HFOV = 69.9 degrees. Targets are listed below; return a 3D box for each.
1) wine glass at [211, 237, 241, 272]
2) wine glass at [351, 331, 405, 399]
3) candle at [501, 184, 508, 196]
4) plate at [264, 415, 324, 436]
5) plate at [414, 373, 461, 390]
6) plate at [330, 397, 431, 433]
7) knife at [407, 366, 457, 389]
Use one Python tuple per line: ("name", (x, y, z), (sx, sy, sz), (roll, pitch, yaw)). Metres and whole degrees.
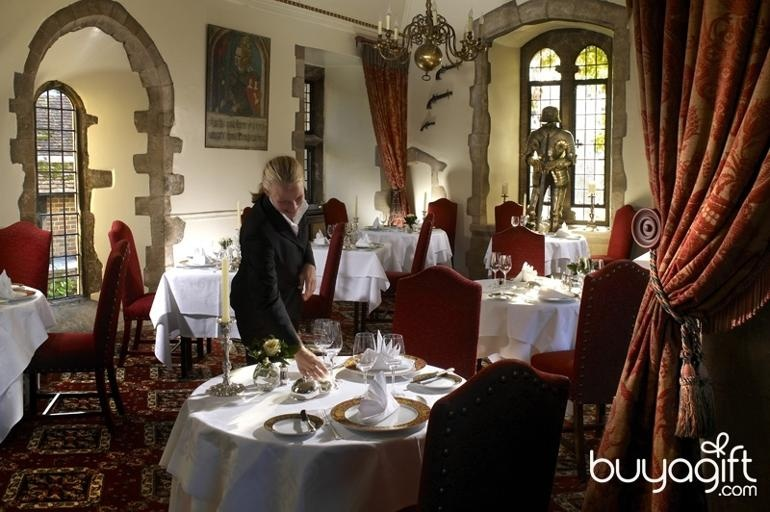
("wine glass", (-1.463, -0.006, 5.054), (0.289, 0.361, 0.297), (-2, 6, -26))
("wine glass", (-0.036, 0.507, 2.687), (0.238, 0.283, 0.287), (-2, 12, -4))
("candle", (1.819, -1.007, 8.434), (0.046, 0.199, 0.195), (3, 13, 20))
("plate", (-0.391, 0.725, 2.347), (0.247, 0.039, 0.180), (-2, 12, 0))
("plate", (0.272, 0.637, 2.736), (0.246, 0.025, 0.162), (-7, 13, -22))
("plate", (-0.021, 0.675, 2.440), (0.449, 0.109, 0.295), (-3, 12, -7))
("knife", (0.225, 0.621, 2.799), (0.080, 0.030, 0.260), (7, 12, 27))
